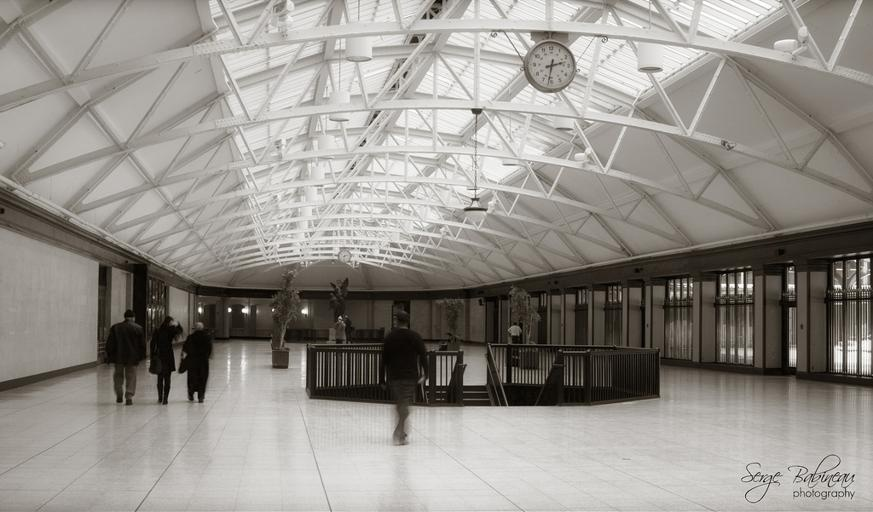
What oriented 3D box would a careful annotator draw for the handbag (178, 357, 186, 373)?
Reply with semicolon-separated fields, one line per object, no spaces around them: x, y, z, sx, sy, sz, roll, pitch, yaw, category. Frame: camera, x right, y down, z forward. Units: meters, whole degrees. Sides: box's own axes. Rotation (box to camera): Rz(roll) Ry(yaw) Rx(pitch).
-7.797;3.370;18.947;0.209;0.419;0.516;3;-10;-20;handbag

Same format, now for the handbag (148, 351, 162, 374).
-8.649;3.303;18.859;0.281;0.625;0.446;5;-11;-29;handbag

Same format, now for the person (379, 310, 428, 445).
-0.798;2.897;14.805;1.114;3.108;1.506;0;-10;-1;person
